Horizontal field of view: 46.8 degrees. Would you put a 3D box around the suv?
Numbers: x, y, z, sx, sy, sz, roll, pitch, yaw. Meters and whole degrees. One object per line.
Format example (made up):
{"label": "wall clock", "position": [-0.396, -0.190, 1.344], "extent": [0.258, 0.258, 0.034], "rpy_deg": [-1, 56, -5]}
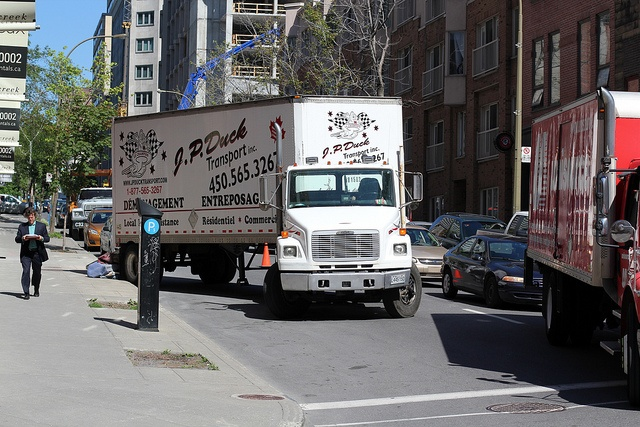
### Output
{"label": "suv", "position": [5.137, 0.646, 27.872], "extent": [1.283, 1.170, 2.561], "rpy_deg": [2, -7, -22]}

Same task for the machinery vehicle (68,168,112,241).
{"label": "machinery vehicle", "position": [-13.631, -0.970, 45.610], "extent": [2.717, 3.191, 5.307], "rpy_deg": [-1, 18, -12]}

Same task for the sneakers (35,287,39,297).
{"label": "sneakers", "position": [-6.853, 1.873, 17.912], "extent": [0.100, 0.233, 0.269], "rpy_deg": [0, 1, -22]}

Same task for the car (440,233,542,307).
{"label": "car", "position": [4.563, 1.504, 19.772], "extent": [1.415, 1.800, 3.710], "rpy_deg": [1, 1, -10]}
